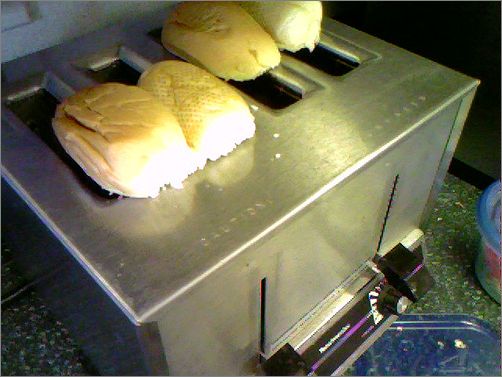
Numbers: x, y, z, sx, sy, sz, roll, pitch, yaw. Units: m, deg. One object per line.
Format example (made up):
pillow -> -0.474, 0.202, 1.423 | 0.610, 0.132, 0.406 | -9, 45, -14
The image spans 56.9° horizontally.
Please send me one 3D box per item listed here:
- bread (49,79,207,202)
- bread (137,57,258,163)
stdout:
bread -> -0.180, -0.082, 0.636 | 0.212, 0.062, 0.154 | 40, 50, 19
bread -> -0.103, -0.135, 0.699 | 0.202, 0.074, 0.132 | 34, 40, 26
